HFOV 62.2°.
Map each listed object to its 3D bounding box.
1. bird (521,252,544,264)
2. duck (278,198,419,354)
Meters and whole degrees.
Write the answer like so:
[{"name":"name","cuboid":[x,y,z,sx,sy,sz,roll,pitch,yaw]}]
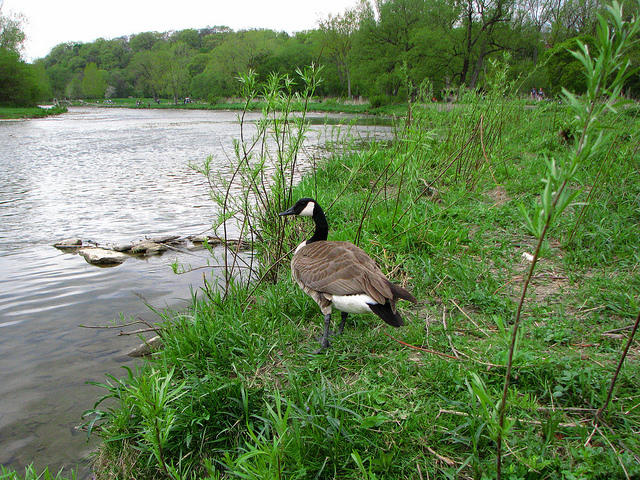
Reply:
[{"name":"bird","cuboid":[2.979,0.252,7.450,0.293,0.099,0.207,9,19,22]},{"name":"duck","cuboid":[0.355,0.440,6.320,2.043,1.709,0.785,11,9,44]}]
